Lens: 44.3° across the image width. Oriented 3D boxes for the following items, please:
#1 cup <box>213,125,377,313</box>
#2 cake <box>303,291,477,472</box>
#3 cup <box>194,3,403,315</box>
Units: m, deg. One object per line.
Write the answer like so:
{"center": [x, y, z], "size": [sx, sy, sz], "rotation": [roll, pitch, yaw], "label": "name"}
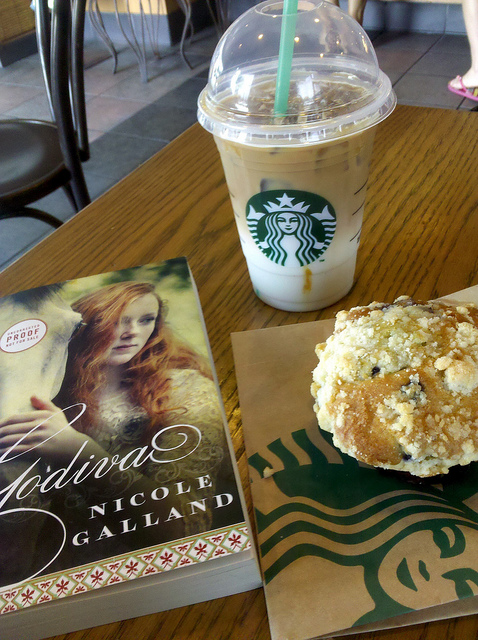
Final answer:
{"center": [0.033, -0.124, 0.608], "size": [0.190, 0.199, 0.159], "rotation": [-3, 44, 6], "label": "cup"}
{"center": [0.118, 0.037, 0.446], "size": [0.123, 0.069, 0.155], "rotation": [4, 36, 9], "label": "cake"}
{"center": [0.061, -0.155, 0.573], "size": [0.189, 0.280, 0.195], "rotation": [-2, 37, 2], "label": "cup"}
